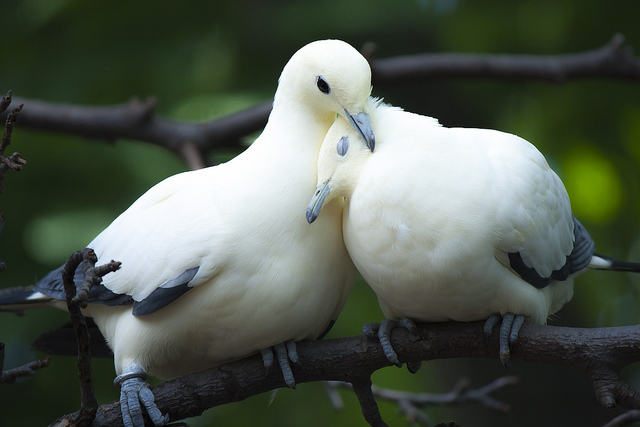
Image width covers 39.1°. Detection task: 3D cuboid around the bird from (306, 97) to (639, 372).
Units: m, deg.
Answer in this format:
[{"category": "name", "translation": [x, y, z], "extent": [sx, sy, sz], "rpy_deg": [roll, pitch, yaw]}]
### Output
[{"category": "bird", "translation": [0.320, 0.049, 2.199], "extent": [0.659, 0.589, 0.361], "rpy_deg": [-1, 29, 16]}]

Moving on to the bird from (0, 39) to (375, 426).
[{"category": "bird", "translation": [-0.058, 0.112, 2.304], "extent": [1.063, 0.890, 0.612], "rpy_deg": [-5, -17, 25]}]
